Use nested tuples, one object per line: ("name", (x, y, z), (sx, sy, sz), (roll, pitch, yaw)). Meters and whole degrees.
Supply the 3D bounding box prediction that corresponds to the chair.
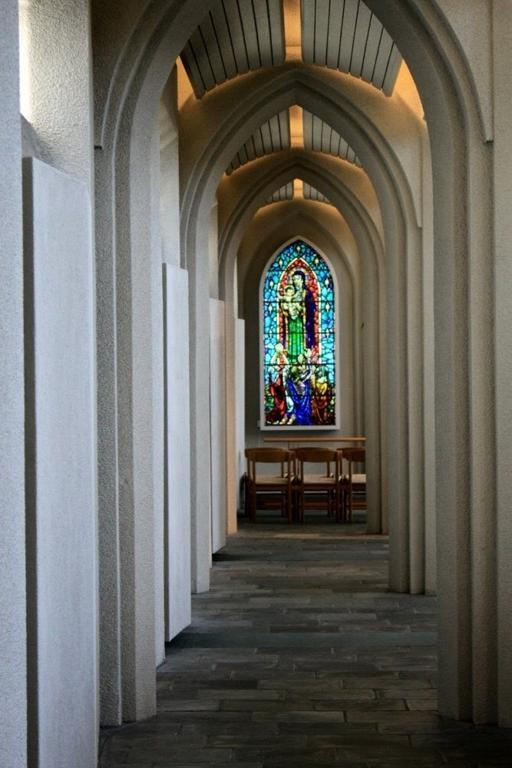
("chair", (0.702, 1.422, 12.418), (1.941, 1.020, 4.243), (-1, -1, 5))
